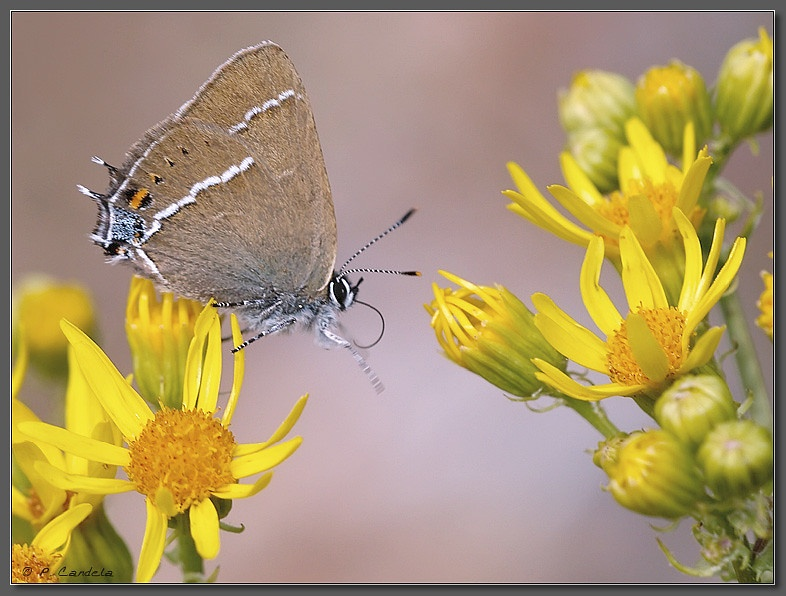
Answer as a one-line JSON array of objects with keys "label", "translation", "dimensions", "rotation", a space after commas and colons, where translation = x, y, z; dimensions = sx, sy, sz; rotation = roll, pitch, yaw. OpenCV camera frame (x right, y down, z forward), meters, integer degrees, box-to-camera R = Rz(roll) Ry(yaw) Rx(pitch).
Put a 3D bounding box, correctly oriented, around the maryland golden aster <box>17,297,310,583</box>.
[{"label": "maryland golden aster", "translation": [-0.467, 0.356, 1.984], "dimensions": [0.732, 0.672, 0.302], "rotation": [0, -89, 30]}]
